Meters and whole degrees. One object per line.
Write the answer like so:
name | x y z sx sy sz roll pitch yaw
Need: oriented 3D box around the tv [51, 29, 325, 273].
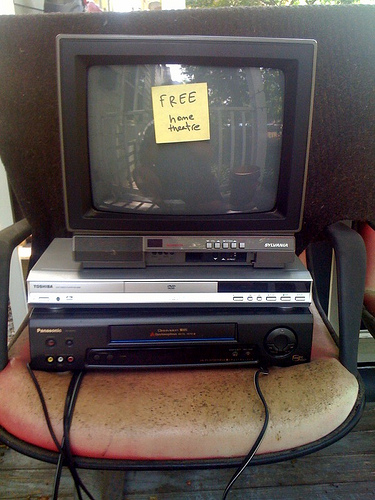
tv | -0.016 -0.182 0.811 0.436 0.384 0.257 -2 14 -10

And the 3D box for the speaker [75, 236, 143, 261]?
speaker | -0.137 -0.002 0.775 0.124 0.041 0.100 -4 18 -6
